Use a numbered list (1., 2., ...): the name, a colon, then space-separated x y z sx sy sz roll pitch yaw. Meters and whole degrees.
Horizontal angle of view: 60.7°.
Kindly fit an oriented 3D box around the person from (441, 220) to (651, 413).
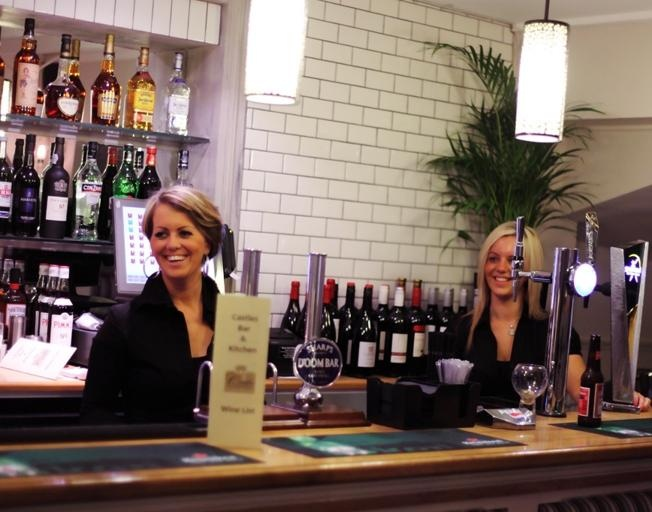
1. person: 0.988 0.270 2.832 0.609 0.947 0.920 3 0 6

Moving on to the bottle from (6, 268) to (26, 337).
1. bottle: -1.566 0.234 2.825 0.101 0.383 0.333 3 0 -29

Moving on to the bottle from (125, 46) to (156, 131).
1. bottle: -1.095 -0.981 3.300 0.156 0.511 0.115 3 0 -23

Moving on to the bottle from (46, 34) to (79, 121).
1. bottle: -1.451 -0.982 3.088 0.177 0.505 0.106 3 0 -28

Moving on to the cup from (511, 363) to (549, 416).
1. cup: 0.682 0.459 1.907 0.114 0.161 0.112 2 -8 0

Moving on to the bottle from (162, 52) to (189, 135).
1. bottle: -0.905 -1.006 3.431 0.145 0.536 0.261 3 0 -15

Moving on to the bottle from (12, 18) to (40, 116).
1. bottle: -1.612 -1.015 3.002 0.120 0.556 0.104 3 0 -30

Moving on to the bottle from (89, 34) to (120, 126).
1. bottle: -1.266 -1.012 3.214 0.157 0.546 0.107 3 0 -25

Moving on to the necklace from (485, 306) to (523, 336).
1. necklace: 0.983 0.372 3.091 0.145 0.145 0.186 3 -26 -2

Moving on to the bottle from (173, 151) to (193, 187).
1. bottle: -0.866 -0.549 3.411 0.088 0.237 0.235 3 0 -15

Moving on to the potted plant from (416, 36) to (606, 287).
1. potted plant: 1.452 -0.672 4.735 1.433 1.969 1.333 11 -2 11

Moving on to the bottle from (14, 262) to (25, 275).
1. bottle: -1.628 0.065 2.959 0.061 0.071 0.063 2 -3 -1

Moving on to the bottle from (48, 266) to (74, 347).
1. bottle: -1.328 0.269 2.818 0.108 0.445 0.110 10 16 -3

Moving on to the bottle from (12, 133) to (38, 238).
1. bottle: -1.621 -0.385 3.013 0.167 0.582 0.106 2 0 41

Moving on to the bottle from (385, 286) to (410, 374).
1. bottle: 0.486 0.484 3.635 0.173 0.558 0.177 2 0 0

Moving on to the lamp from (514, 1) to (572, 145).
1. lamp: 0.852 -0.698 2.200 0.183 0.493 0.137 2 0 12

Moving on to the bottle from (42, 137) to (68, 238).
1. bottle: -1.484 -0.377 3.069 0.141 0.587 0.173 3 0 -28

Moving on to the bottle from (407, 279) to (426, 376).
1. bottle: 0.603 0.489 3.666 0.118 0.581 0.164 2 0 9

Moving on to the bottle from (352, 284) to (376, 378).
1. bottle: 0.256 0.470 3.589 0.164 0.567 0.279 2 0 4

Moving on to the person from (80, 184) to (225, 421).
1. person: -0.559 0.147 1.827 0.412 0.809 0.362 3 0 -12

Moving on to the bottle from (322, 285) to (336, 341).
1. bottle: 0.009 0.361 3.526 0.080 0.367 0.217 2 0 16

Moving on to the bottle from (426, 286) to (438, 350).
1. bottle: 0.751 0.364 3.891 0.093 0.376 0.286 2 0 10
